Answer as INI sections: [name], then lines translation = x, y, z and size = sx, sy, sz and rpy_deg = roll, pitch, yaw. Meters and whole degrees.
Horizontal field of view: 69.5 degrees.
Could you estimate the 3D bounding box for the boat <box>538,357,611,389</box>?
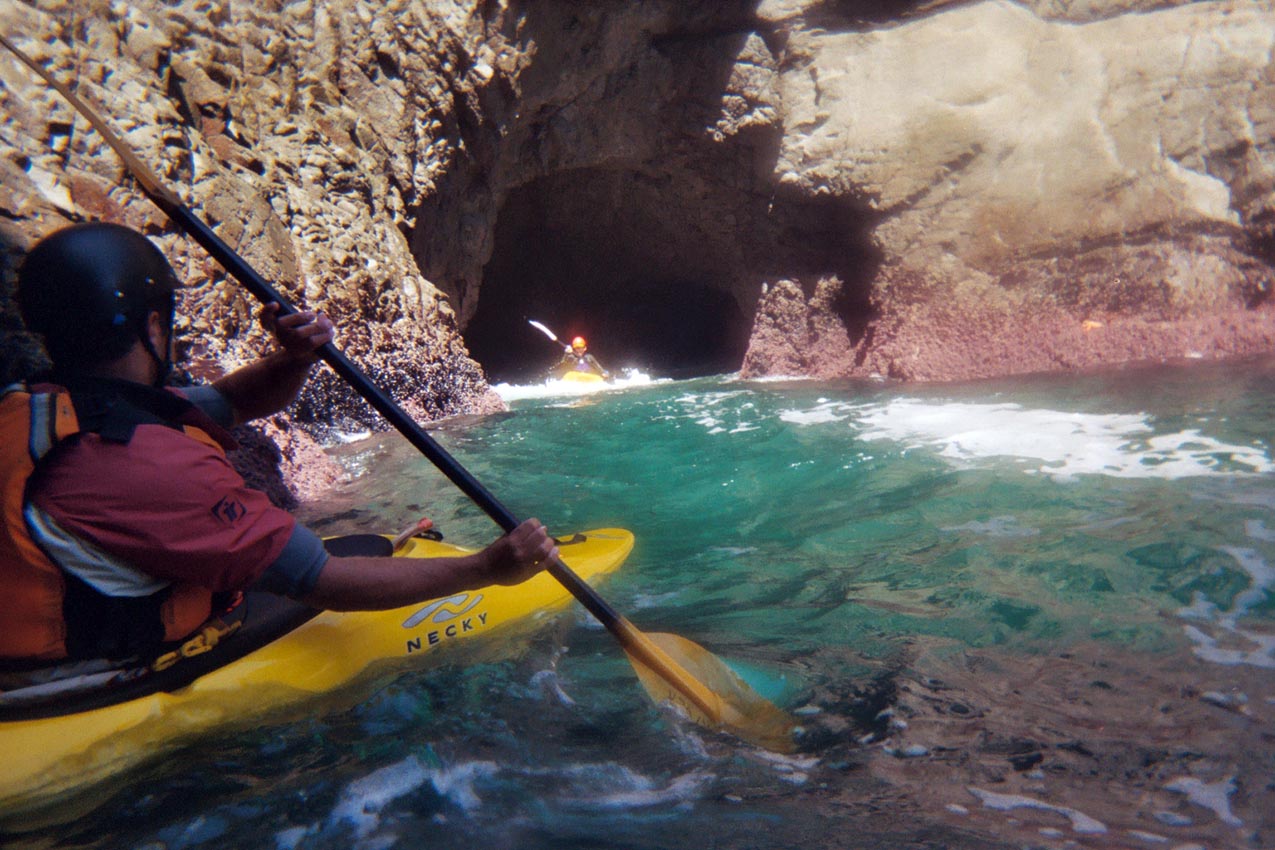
[boat]
translation = -1.082, -0.828, 14.953
size = 0.798, 0.325, 0.982
rpy_deg = -1, 2, -9
